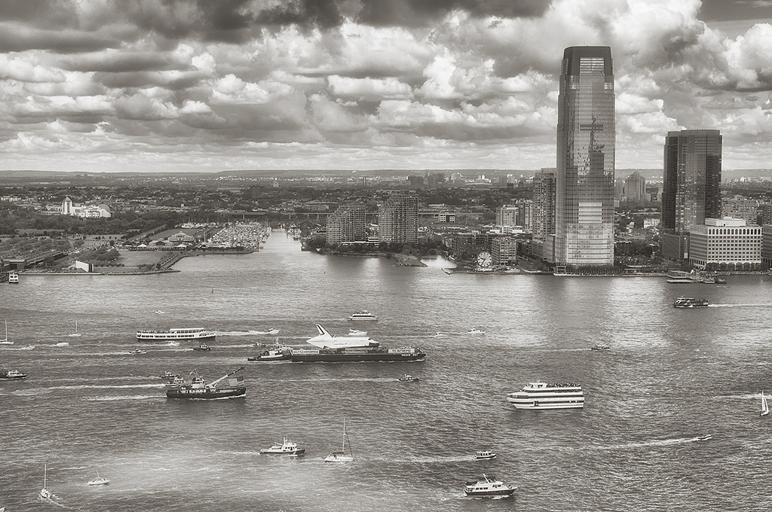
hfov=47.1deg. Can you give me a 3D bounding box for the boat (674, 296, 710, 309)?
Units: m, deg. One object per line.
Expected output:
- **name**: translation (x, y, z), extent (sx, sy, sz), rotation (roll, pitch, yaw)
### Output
- **boat**: translation (5.920, 0.928, 17.236), extent (0.599, 0.208, 0.327), rotation (-1, 3, -3)

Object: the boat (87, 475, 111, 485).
- **boat**: translation (-2.916, 2.283, 8.998), extent (0.220, 0.025, 0.196), rotation (-1, 10, -5)

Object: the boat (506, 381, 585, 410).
- **boat**: translation (2.007, 1.727, 11.097), extent (1.104, 0.313, 0.344), rotation (-1, 5, -5)

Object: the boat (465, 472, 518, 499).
- **boat**: translation (1.064, 2.338, 8.918), extent (0.518, 0.183, 0.193), rotation (1, 0, -2)

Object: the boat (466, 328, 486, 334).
- **boat**: translation (1.490, 1.247, 14.559), extent (0.283, 0.026, 0.475), rotation (1, 10, 7)

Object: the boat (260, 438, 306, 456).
- **boat**: translation (-1.128, 2.090, 9.725), extent (0.506, 0.091, 0.396), rotation (1, 11, 2)
